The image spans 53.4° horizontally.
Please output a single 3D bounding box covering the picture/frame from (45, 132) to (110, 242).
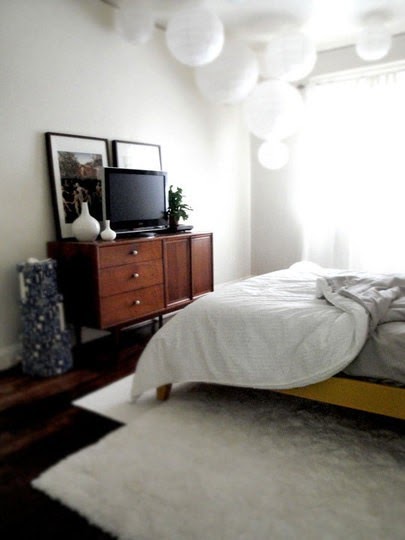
[{"bbox_3d":[-0.869,-0.547,2.701,0.030,0.924,0.668,3,8,28],"label":"picture/frame"}]

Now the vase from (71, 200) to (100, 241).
[{"bbox_3d":[-0.763,-0.309,2.600,0.129,0.255,0.152,1,5,28],"label":"vase"}]

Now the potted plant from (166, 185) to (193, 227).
[{"bbox_3d":[-0.213,-0.516,3.363,0.213,0.303,0.170,8,6,-31],"label":"potted plant"}]

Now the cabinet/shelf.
[{"bbox_3d":[-0.428,0.041,3.052,0.392,0.588,1.219,4,10,36],"label":"cabinet/shelf"}]

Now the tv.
[{"bbox_3d":[-0.494,-0.518,2.979,0.065,0.455,0.601,7,12,40],"label":"tv"}]
